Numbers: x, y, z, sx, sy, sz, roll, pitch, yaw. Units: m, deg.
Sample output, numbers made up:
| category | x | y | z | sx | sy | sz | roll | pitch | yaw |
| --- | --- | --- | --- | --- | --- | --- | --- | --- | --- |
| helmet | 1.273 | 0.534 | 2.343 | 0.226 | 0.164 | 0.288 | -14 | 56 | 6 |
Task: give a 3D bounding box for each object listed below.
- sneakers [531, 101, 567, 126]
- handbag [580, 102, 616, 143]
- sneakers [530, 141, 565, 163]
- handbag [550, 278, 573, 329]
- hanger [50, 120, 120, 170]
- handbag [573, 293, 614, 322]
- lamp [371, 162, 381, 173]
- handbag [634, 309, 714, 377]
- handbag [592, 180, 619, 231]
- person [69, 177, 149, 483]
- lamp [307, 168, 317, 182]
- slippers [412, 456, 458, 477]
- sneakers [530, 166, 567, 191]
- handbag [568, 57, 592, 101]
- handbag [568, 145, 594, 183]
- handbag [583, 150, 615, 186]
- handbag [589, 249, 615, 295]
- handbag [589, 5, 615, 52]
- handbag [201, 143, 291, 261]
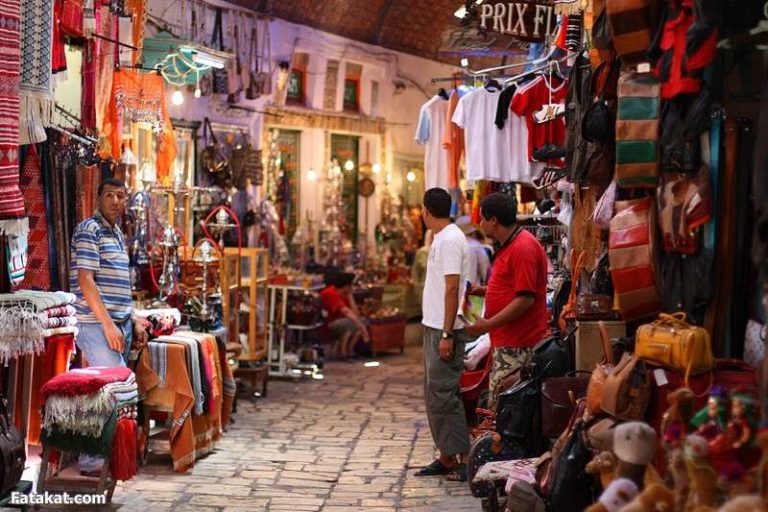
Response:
| category | x | y | z | sx | sy | sz | roll | pitch | yaw |
| --- | --- | --- | --- | --- | --- | --- | --- | --- | --- |
| sneakers | 1.783 | -1.478 | 7.243 | 0.448 | 0.202 | 0.165 | -11 | 5 | 39 |
| handbag | 1.712 | -1.065 | 5.519 | 0.212 | 0.322 | 0.176 | 5 | 23 | 4 |
| sneakers | 1.669 | -1.054 | 7.291 | 0.446 | 0.191 | 0.163 | -9 | 7 | 33 |
| handbag | 1.832 | 0.517 | 7.100 | 0.220 | 0.483 | 0.381 | 1 | -39 | 12 |
| hanger | -2.970 | -1.057 | 6.807 | 0.448 | 0.424 | 1.271 | 1 | 3 | -15 |
| handbag | 1.645 | 0.415 | 5.492 | 0.244 | 0.182 | 0.202 | 1 | 5 | 8 |
| lamp | -0.165 | -1.851 | 14.715 | 0.148 | 0.229 | 0.321 | 2 | 3 | 8 |
| handbag | 1.788 | 0.552 | 4.364 | 0.313 | 0.342 | 0.461 | 3 | 3 | -31 |
| handbag | 1.773 | -0.400 | 5.603 | 0.110 | 0.332 | 0.241 | 6 | 9 | 7 |
| person | -2.470 | 0.177 | 6.232 | 0.597 | 1.728 | 0.515 | 0 | 4 | -26 |
| lamp | -1.410 | -1.576 | 13.587 | 0.184 | 0.211 | 0.379 | 1 | 3 | -3 |
| slippers | 0.479 | 2.000 | 6.602 | 0.419 | 0.197 | 0.172 | 3 | -4 | -2 |
| sneakers | 1.786 | -0.867 | 7.576 | 0.329 | 0.118 | 0.204 | -17 | 6 | 36 |
| handbag | 1.686 | -1.504 | 5.900 | 0.140 | 0.414 | 0.276 | 1 | 3 | -14 |
| handbag | 1.701 | -0.773 | 5.871 | 0.091 | 0.273 | 0.256 | 9 | -3 | -11 |
| handbag | 1.751 | -0.726 | 5.659 | 0.215 | 0.284 | 0.095 | 2 | 4 | 18 |
| handbag | 1.838 | 0.156 | 5.853 | 0.198 | 0.435 | 0.152 | -5 | -4 | 15 |
| handbag | 1.810 | -1.900 | 5.818 | 0.146 | 0.401 | 0.294 | 1 | 3 | -4 |
| handbag | -2.052 | -1.006 | 12.652 | 1.378 | 2.006 | 0.564 | 8 | -12 | -44 |
